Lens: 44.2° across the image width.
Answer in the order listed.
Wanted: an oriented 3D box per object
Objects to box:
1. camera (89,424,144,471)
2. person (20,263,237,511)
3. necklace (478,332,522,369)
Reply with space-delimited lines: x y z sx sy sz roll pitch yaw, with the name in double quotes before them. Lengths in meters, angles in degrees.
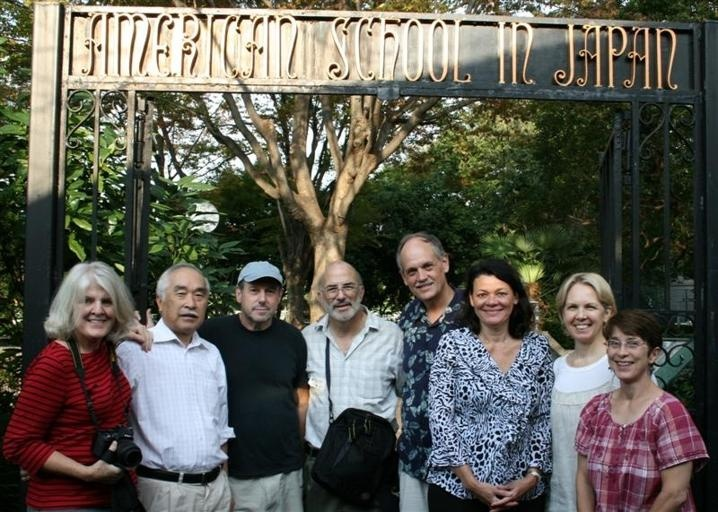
"camera" -1.667 1.339 6.249 0.344 0.190 0.293 29 13 17
"person" -1.696 1.054 6.571 0.891 1.627 1.615 -15 -21 34
"necklace" 1.070 0.740 6.837 0.392 0.377 0.217 2 -12 -3
